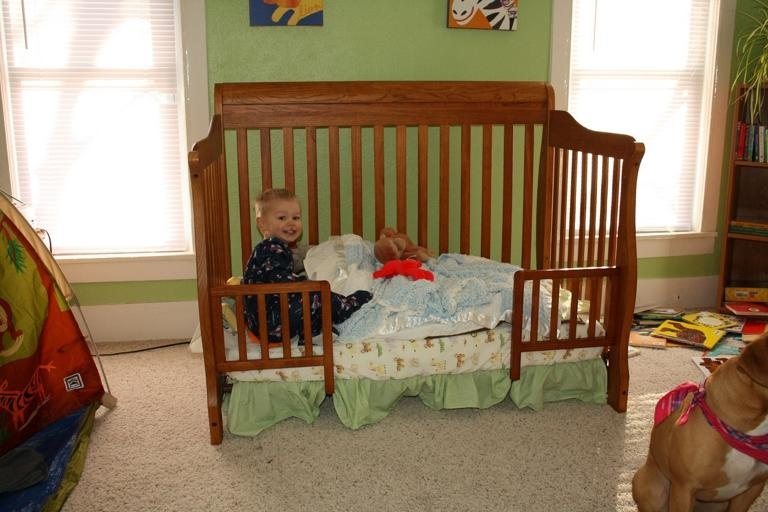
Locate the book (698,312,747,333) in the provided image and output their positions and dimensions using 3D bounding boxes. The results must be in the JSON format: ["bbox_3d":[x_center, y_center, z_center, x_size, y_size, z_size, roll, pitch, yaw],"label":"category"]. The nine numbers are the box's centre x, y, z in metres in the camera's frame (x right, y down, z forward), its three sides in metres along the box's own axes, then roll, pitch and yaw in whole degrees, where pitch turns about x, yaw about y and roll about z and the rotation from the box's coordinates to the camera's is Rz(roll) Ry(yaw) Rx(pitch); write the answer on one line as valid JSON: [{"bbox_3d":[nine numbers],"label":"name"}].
[{"bbox_3d":[1.966,0.379,3.630,0.145,0.035,0.138,10,19,42],"label":"book"}]

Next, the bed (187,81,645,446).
[{"bbox_3d":[0.139,-0.058,3.014,1.894,1.340,1.211,-2,18,-4],"label":"bed"}]

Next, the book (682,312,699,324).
[{"bbox_3d":[1.828,0.370,3.693,0.066,0.016,0.068,-3,20,-3],"label":"book"}]

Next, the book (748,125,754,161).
[{"bbox_3d":[2.159,-0.660,3.660,0.028,0.190,0.027,5,16,20],"label":"book"}]

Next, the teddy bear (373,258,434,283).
[{"bbox_3d":[0.101,0.066,2.971,0.273,0.097,0.268,2,15,12],"label":"teddy bear"}]

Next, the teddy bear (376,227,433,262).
[{"bbox_3d":[0.087,-0.040,3.104,0.171,0.091,0.229,-9,-31,41],"label":"teddy bear"}]

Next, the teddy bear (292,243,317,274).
[{"bbox_3d":[-0.401,0.000,3.044,0.124,0.037,0.123,9,48,6],"label":"teddy bear"}]

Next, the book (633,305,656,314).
[{"bbox_3d":[1.601,0.326,3.837,0.135,0.035,0.134,2,6,23],"label":"book"}]
